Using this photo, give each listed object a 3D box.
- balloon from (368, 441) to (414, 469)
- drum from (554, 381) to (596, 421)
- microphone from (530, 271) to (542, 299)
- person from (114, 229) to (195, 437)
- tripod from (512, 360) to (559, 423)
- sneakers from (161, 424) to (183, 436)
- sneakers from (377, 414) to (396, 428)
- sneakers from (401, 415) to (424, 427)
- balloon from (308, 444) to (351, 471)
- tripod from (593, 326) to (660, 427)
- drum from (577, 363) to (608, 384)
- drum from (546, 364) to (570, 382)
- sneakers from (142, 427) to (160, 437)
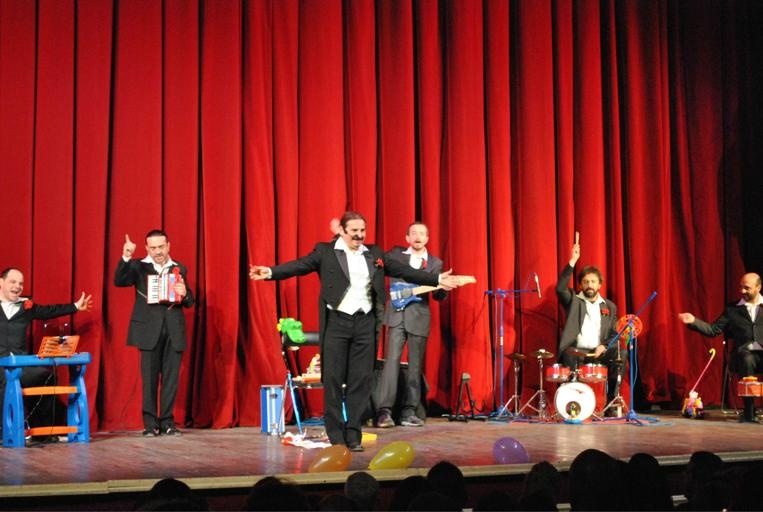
[{"bbox_3d":[0.095,1.570,6.745,0.336,0.173,0.174,-17,-33,-22],"label":"balloon"},{"bbox_3d":[2.082,1.570,9.302,0.410,0.431,0.207,-4,-11,6],"label":"drum"},{"bbox_3d":[1.859,0.334,10.304,0.081,0.306,0.124,-6,-11,19],"label":"microphone"},{"bbox_3d":[-2.280,0.777,8.710,0.772,2.022,0.604,2,-12,-25],"label":"person"},{"bbox_3d":[1.821,1.484,9.868,0.564,0.716,0.573,3,-1,20],"label":"tripod"},{"bbox_3d":[-2.088,1.747,8.662,0.207,0.090,0.091,-6,-11,29],"label":"sneakers"},{"bbox_3d":[0.064,1.732,9.078,0.084,0.099,0.230,2,-17,-17],"label":"sneakers"},{"bbox_3d":[0.332,1.744,9.186,0.216,0.093,0.105,-4,-8,23],"label":"sneakers"},{"bbox_3d":[-0.387,1.554,6.576,0.253,0.190,0.155,-19,-17,-8],"label":"balloon"},{"bbox_3d":[2.772,1.322,9.878,0.644,1.198,1.511,-6,-11,17],"label":"tripod"},{"bbox_3d":[2.271,1.261,9.355,0.236,0.113,0.240,1,-15,0],"label":"drum"},{"bbox_3d":[1.947,1.281,9.474,0.253,0.206,0.410,-6,-11,14],"label":"drum"},{"bbox_3d":[-2.291,1.755,8.636,0.075,0.069,0.163,1,-3,-4],"label":"sneakers"}]
